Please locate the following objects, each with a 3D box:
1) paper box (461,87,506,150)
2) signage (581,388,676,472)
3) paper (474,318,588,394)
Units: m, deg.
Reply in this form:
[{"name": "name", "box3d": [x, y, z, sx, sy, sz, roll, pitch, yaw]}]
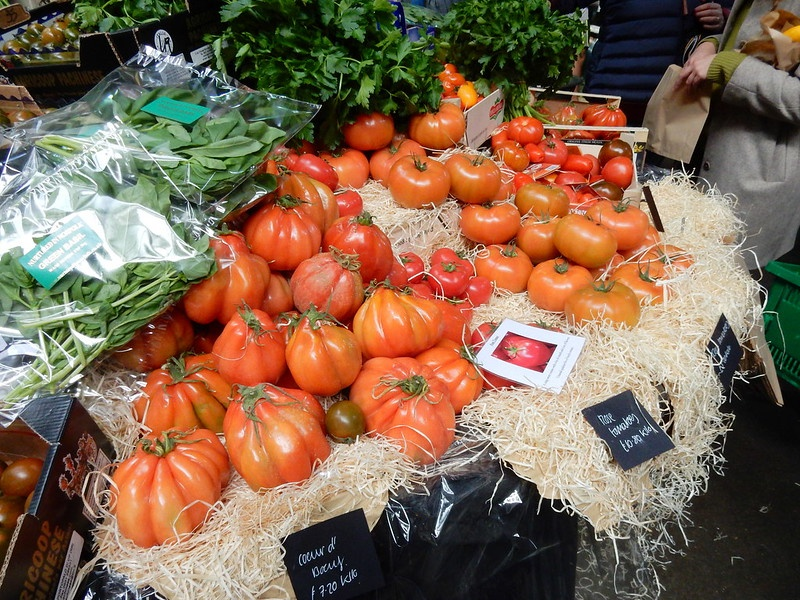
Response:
[{"name": "paper box", "box3d": [0.448, -1.203, 3.445, 0.330, 0.234, 0.489, 11, 42, 31]}, {"name": "signage", "box3d": [0.856, 0.482, 1.937, 0.308, 0.133, 0.228, -18, 50, -19]}, {"name": "paper", "box3d": [0.527, 0.214, 2.098, 0.384, 0.056, 0.319, 20, 49, 15]}]
